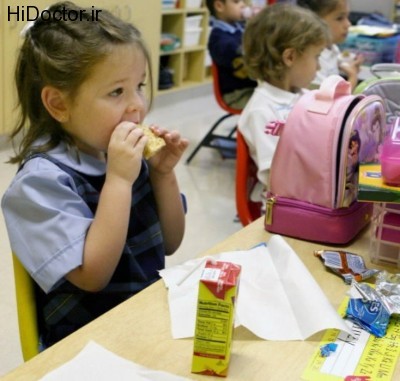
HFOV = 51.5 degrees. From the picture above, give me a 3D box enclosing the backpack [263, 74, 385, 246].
[{"bbox_3d":[0.300,-0.084,0.991,0.202,0.365,0.281,12,21,37],"label":"backpack"}]
